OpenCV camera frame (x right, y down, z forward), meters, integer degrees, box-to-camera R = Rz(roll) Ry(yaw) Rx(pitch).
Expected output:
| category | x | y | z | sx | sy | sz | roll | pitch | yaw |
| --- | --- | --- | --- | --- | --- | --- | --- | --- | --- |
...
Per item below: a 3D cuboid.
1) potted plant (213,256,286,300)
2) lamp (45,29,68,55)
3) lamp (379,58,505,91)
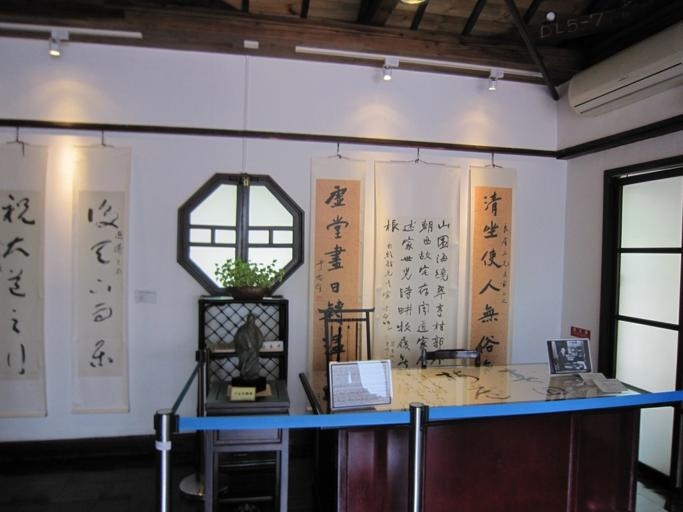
| category | x | y | z | sx | sy | sz | roll | pitch | yaw |
| --- | --- | --- | --- | --- | --- | --- | --- | --- | --- |
| potted plant | -0.879 | 0.215 | 5.780 | 0.672 | 0.386 | 0.372 | -1 | -2 | -7 |
| lamp | -2.616 | -1.978 | 5.501 | 0.177 | 0.229 | 0.074 | -2 | 16 | -22 |
| lamp | 1.059 | -1.823 | 6.048 | 1.309 | 0.239 | 0.346 | -1 | -2 | -9 |
